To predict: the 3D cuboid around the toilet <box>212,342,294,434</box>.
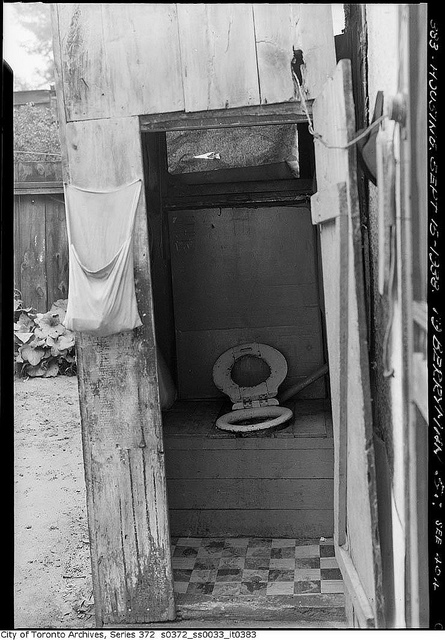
[{"bbox_3d":[0.241,0.473,4.511,0.548,0.262,1.253,-8,-45,6],"label":"toilet"}]
